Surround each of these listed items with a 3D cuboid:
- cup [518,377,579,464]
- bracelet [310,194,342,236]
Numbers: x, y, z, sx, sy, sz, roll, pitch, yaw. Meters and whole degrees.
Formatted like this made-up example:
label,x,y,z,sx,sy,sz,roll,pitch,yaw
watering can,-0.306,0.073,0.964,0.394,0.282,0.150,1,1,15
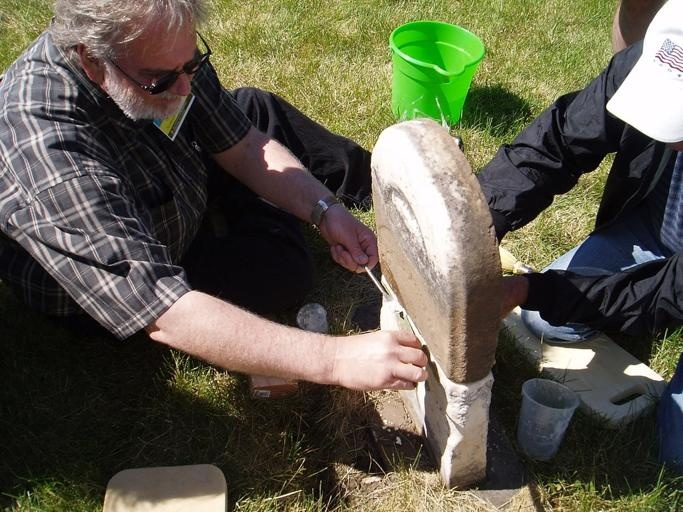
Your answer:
label,x,y,z,sx,sy,sz,roll,pitch,yaw
cup,0.891,0.730,2.646,0.234,0.271,0.234,1,26,0
bracelet,-0.072,-0.223,3.010,0.163,0.177,0.109,-33,73,-24
